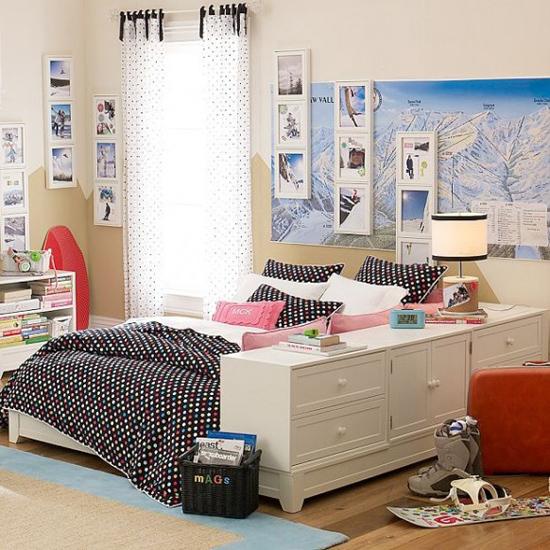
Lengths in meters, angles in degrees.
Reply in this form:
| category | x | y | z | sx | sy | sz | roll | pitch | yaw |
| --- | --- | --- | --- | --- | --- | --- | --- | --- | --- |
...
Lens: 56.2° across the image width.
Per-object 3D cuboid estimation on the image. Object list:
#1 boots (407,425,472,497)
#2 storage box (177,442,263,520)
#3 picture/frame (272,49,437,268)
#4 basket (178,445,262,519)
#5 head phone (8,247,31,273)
| category | x | y | z | sx | sy | sz | roll | pitch | yaw |
| --- | --- | --- | --- | --- | --- | --- | --- | --- | --- |
| boots | 0.676 | 0.719 | 2.057 | 0.240 | 0.238 | 0.177 | -8 | -4 | 20 |
| storage box | -0.186 | 0.740 | 1.873 | 0.300 | 0.223 | 0.232 | 2 | 6 | 26 |
| picture/frame | 0.662 | -0.942 | 4.006 | 1.775 | 1.889 | 0.098 | 4 | 7 | 36 |
| basket | -0.179 | 0.745 | 1.864 | 0.294 | 0.220 | 0.234 | 3 | 6 | 28 |
| head phone | -2.415 | -0.138 | 4.823 | 0.092 | 0.174 | 0.239 | -19 | -46 | 43 |
